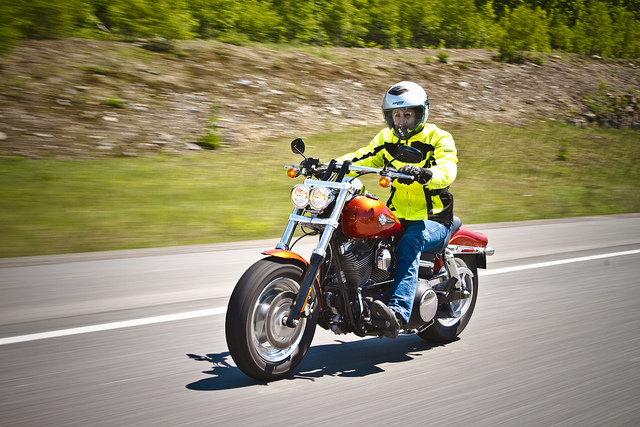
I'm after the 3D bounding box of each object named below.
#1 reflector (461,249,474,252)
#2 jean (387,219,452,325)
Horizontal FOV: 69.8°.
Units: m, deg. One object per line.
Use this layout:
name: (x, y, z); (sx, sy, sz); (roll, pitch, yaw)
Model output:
reflector: (1.718, 0.438, 5.427); (0.180, 0.042, 0.010); (-3, 18, -24)
jean: (0.947, 0.577, 4.695); (0.429, 0.998, 0.885); (9, 15, 18)
